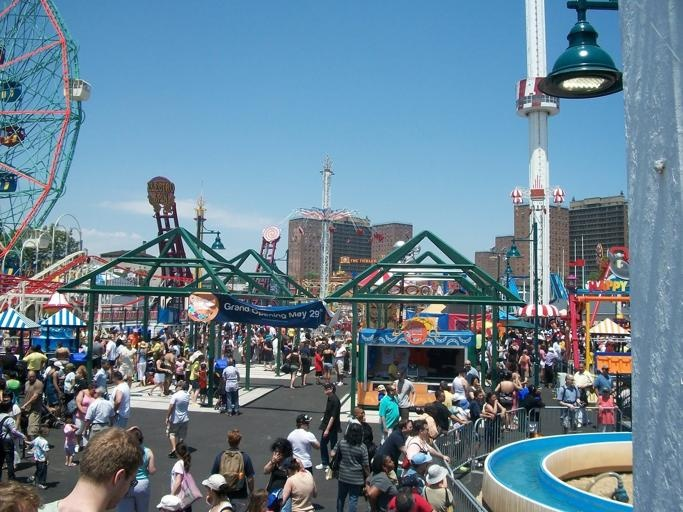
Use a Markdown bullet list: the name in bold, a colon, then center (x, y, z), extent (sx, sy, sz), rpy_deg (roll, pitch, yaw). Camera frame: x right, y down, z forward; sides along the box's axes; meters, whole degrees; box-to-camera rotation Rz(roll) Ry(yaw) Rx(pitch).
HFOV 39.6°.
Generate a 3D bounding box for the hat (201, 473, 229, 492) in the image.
- **hat**: center (-2.635, 4.655, 19.609), extent (0.396, 0.202, 0.303), rpy_deg (5, -6, 23)

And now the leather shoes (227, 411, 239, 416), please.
- **leather shoes**: center (-3.406, 4.903, 29.619), extent (0.366, 0.157, 0.120), rpy_deg (3, -4, -39)

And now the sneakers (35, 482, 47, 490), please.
- **sneakers**: center (-7.396, 5.619, 23.244), extent (0.319, 0.139, 0.110), rpy_deg (6, -2, 9)

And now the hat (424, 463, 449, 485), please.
- **hat**: center (2.049, 4.742, 20.562), extent (0.392, 0.433, 0.250), rpy_deg (0, -7, 5)

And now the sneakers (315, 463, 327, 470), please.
- **sneakers**: center (-0.542, 5.467, 24.732), extent (0.292, 0.116, 0.152), rpy_deg (5, 0, 2)

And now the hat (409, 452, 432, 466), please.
- **hat**: center (1.785, 4.472, 20.889), extent (0.411, 0.150, 0.268), rpy_deg (-4, 7, -32)

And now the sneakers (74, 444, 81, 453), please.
- **sneakers**: center (-7.113, 5.147, 25.405), extent (0.142, 0.187, 0.191), rpy_deg (1, -4, -8)

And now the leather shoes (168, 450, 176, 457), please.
- **leather shoes**: center (-4.558, 5.265, 25.343), extent (0.176, 0.180, 0.411), rpy_deg (4, -7, -22)

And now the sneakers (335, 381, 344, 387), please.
- **sneakers**: center (-0.066, 4.797, 35.743), extent (0.160, 0.193, 0.481), rpy_deg (-8, -12, 44)

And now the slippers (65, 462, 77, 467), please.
- **slippers**: center (-7.089, 5.400, 24.706), extent (0.267, 0.091, 0.236), rpy_deg (3, -7, -19)
